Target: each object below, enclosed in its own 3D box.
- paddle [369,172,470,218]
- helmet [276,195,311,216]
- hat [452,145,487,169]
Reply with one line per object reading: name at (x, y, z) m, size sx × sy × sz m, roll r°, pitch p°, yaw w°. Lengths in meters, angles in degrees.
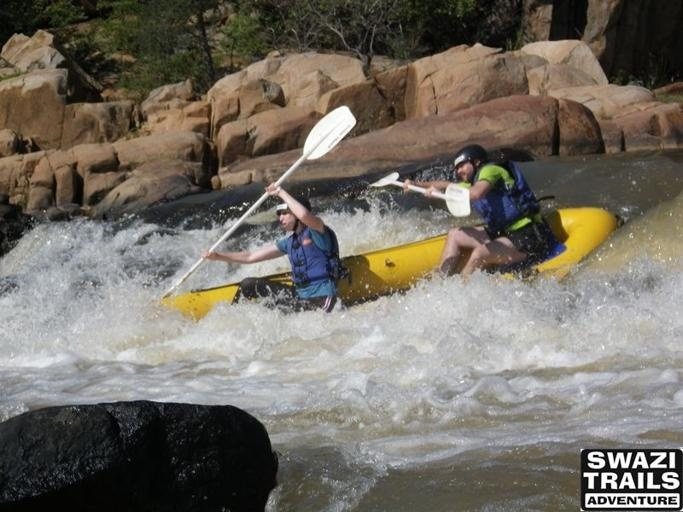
paddle at (1.265, -0.955, 16.353) m, size 0.640 × 0.184 × 1.729 m, roll -34°, pitch 30°, yaw -28°
helmet at (-0.736, -0.770, 15.951) m, size 0.503 × 0.249 × 0.434 m, roll -14°, pitch 33°, yaw -4°
hat at (1.921, -1.511, 16.043) m, size 0.389 × 0.334 × 0.305 m, roll -1°, pitch 5°, yaw 20°
